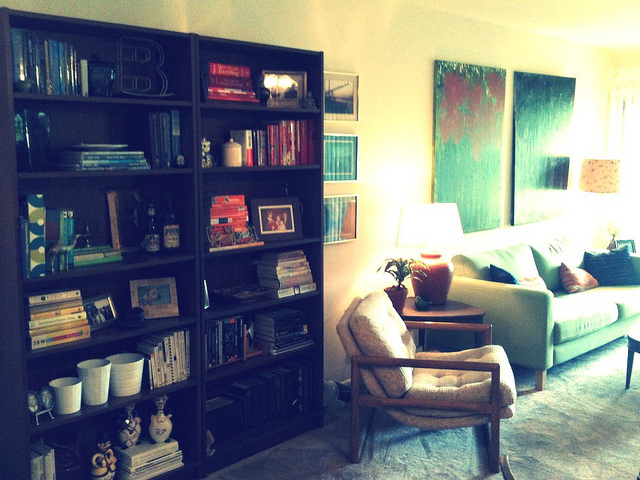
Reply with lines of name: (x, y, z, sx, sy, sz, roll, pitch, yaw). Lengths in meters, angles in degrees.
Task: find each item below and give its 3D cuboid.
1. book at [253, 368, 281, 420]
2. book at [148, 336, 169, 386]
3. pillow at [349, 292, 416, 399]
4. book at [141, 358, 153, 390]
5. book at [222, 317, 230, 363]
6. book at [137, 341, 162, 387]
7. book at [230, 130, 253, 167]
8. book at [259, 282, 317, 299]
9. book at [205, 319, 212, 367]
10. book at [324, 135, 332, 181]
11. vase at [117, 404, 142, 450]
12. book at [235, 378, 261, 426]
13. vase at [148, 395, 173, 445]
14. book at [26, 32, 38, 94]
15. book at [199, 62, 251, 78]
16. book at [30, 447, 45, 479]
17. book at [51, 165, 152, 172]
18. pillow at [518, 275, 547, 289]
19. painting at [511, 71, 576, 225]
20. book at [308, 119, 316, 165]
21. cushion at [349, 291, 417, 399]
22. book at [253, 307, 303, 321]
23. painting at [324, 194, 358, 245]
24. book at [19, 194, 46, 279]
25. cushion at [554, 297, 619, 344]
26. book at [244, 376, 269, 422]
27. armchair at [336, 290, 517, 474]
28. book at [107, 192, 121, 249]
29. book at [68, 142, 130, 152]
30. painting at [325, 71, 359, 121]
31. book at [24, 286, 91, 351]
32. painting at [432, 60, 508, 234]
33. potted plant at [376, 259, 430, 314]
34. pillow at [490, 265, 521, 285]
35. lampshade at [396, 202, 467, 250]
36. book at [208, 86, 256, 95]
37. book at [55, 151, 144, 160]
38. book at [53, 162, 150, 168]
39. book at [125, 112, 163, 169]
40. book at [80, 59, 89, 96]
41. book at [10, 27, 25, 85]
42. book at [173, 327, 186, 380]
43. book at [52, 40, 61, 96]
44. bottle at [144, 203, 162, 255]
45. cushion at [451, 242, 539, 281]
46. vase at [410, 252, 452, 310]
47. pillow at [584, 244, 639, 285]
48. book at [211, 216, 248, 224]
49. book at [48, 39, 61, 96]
book: (-0.351, 1.032, 3.597, 0.151, 0.261, 0.265, -5, 8, -37)
book: (-0.938, 0.707, 3.146, 0.184, 0.192, 0.039, -4, -4, -41)
pillow: (0.345, 0.598, 3.487, 0.158, 0.542, 0.539, -22, 10, 20)
book: (-0.971, 0.748, 3.052, 0.073, 0.165, 0.028, 4, 11, 25)
book: (-0.583, 0.623, 3.359, 0.029, 0.267, 0.075, 6, 12, 33)
book: (-0.952, 0.705, 3.053, 0.086, 0.237, 0.245, -4, 1, -34)
book: (-0.486, -0.560, 3.361, 0.101, 0.287, 0.193, -8, 11, -37)
book: (-0.178, 0.337, 3.618, 0.360, 0.062, 0.097, -5, 11, -23)
book: (-0.670, 0.624, 3.286, 0.031, 0.287, 0.055, 5, 12, 30)
book: (0.060, -0.610, 4.069, 0.022, 0.336, 0.088, 7, 13, 36)
vase: (-1.097, 1.040, 3.139, 0.140, 0.272, 0.185, -5, 11, -21)
book: (-0.468, 1.058, 3.511, 0.131, 0.221, 0.232, -14, 2, -30)
vase: (-0.934, 1.039, 3.169, 0.114, 0.293, 0.100, -8, 13, -36)
book: (-1.359, -0.835, 2.571, 0.043, 0.269, 0.018, -5, 11, -21)
book: (-0.552, -1.001, 3.226, 0.151, 0.036, 0.155, 4, 4, 34)
book: (-1.436, 1.139, 2.773, 0.063, 0.134, 0.089, -6, 12, -29)
book: (-1.130, -0.376, 2.850, 0.494, 0.026, 0.202, -6, 12, -27)
pillow: (1.916, 0.380, 4.895, 0.155, 0.049, 0.164, -2, 16, -10)
painting: (2.399, -1.039, 5.932, 0.077, 1.611, 1.587, 8, 13, 44)
book: (-0.057, -0.654, 3.630, 0.056, 0.287, 0.020, -7, 12, -30)
cushion: (0.401, 0.651, 3.496, 0.392, 0.495, 0.574, 2, 11, 11)
book: (-0.270, 0.502, 3.651, 0.332, 0.027, 0.192, -5, 12, -23)
painting: (0.144, -0.163, 4.261, 0.039, 0.377, 0.511, 3, -2, -29)
book: (-1.389, -0.009, 2.618, 0.125, 0.382, 0.377, -2, 4, -34)
cushion: (2.206, 0.655, 4.595, 0.414, 0.091, 0.425, 1, 6, 38)
book: (-0.416, 1.044, 3.547, 0.136, 0.227, 0.236, -18, 16, -31)
armchair: (0.652, 0.788, 3.648, 1.107, 0.920, 1.019, 0, 8, 11)
book: (-1.135, -0.113, 3.059, 0.036, 0.336, 0.031, -7, -5, -15)
book: (-1.168, -0.497, 2.920, 0.330, 0.047, 0.238, -7, 13, -33)
painting: (0.130, -1.081, 4.146, 0.029, 0.344, 0.452, -16, 23, -40)
book: (-1.326, 0.387, 2.753, 0.305, 0.254, 0.168, -7, 12, -31)
painting: (1.349, -0.900, 5.026, 1.520, 2.029, 0.093, -8, 11, -44)
potted plant: (0.614, 0.361, 4.326, 0.384, 0.343, 0.381, 3, 1, -37)
pillow: (1.540, 0.307, 4.657, 0.153, 0.119, 0.298, -9, 13, -38)
lampshade: (0.868, -0.113, 4.376, 0.403, 0.283, 0.411, -5, 9, -19)
book: (-0.527, -0.885, 3.237, 0.307, 0.039, 0.016, -9, 13, -38)
book: (-1.142, -0.438, 2.839, 0.423, 0.045, 0.100, -6, 12, -27)
book: (-1.147, -0.392, 2.851, 0.459, 0.028, 0.130, -5, 11, -23)
book: (-0.965, -0.543, 3.010, 0.113, 0.312, 0.315, -7, 5, -36)
book: (-1.199, -0.823, 2.770, 0.039, 0.167, 0.021, -5, 11, -22)
book: (-1.403, -0.851, 2.530, 0.055, 0.248, 0.034, -6, 12, -26)
book: (-0.791, 0.652, 3.150, 0.046, 0.200, 0.188, 0, 2, -34)
book: (-1.262, -0.820, 2.612, 0.034, 0.260, 0.098, -5, 11, -25)
bottle: (-0.979, -0.066, 3.168, 0.098, 0.275, 0.175, -4, 11, -17)
cushion: (1.640, 0.198, 5.027, 0.912, 0.289, 0.322, 0, 24, -39)
vase: (0.779, 0.324, 4.367, 0.381, 0.481, 0.391, 0, -2, 1)
pillow: (2.982, 0.271, 5.586, 0.320, 0.344, 0.122, -13, -10, 11)
book: (-0.558, -0.123, 3.353, 0.256, 0.044, 0.017, -10, 14, -42)
book: (-1.284, -0.833, 2.641, 0.054, 0.247, 0.018, -7, 12, -32)
